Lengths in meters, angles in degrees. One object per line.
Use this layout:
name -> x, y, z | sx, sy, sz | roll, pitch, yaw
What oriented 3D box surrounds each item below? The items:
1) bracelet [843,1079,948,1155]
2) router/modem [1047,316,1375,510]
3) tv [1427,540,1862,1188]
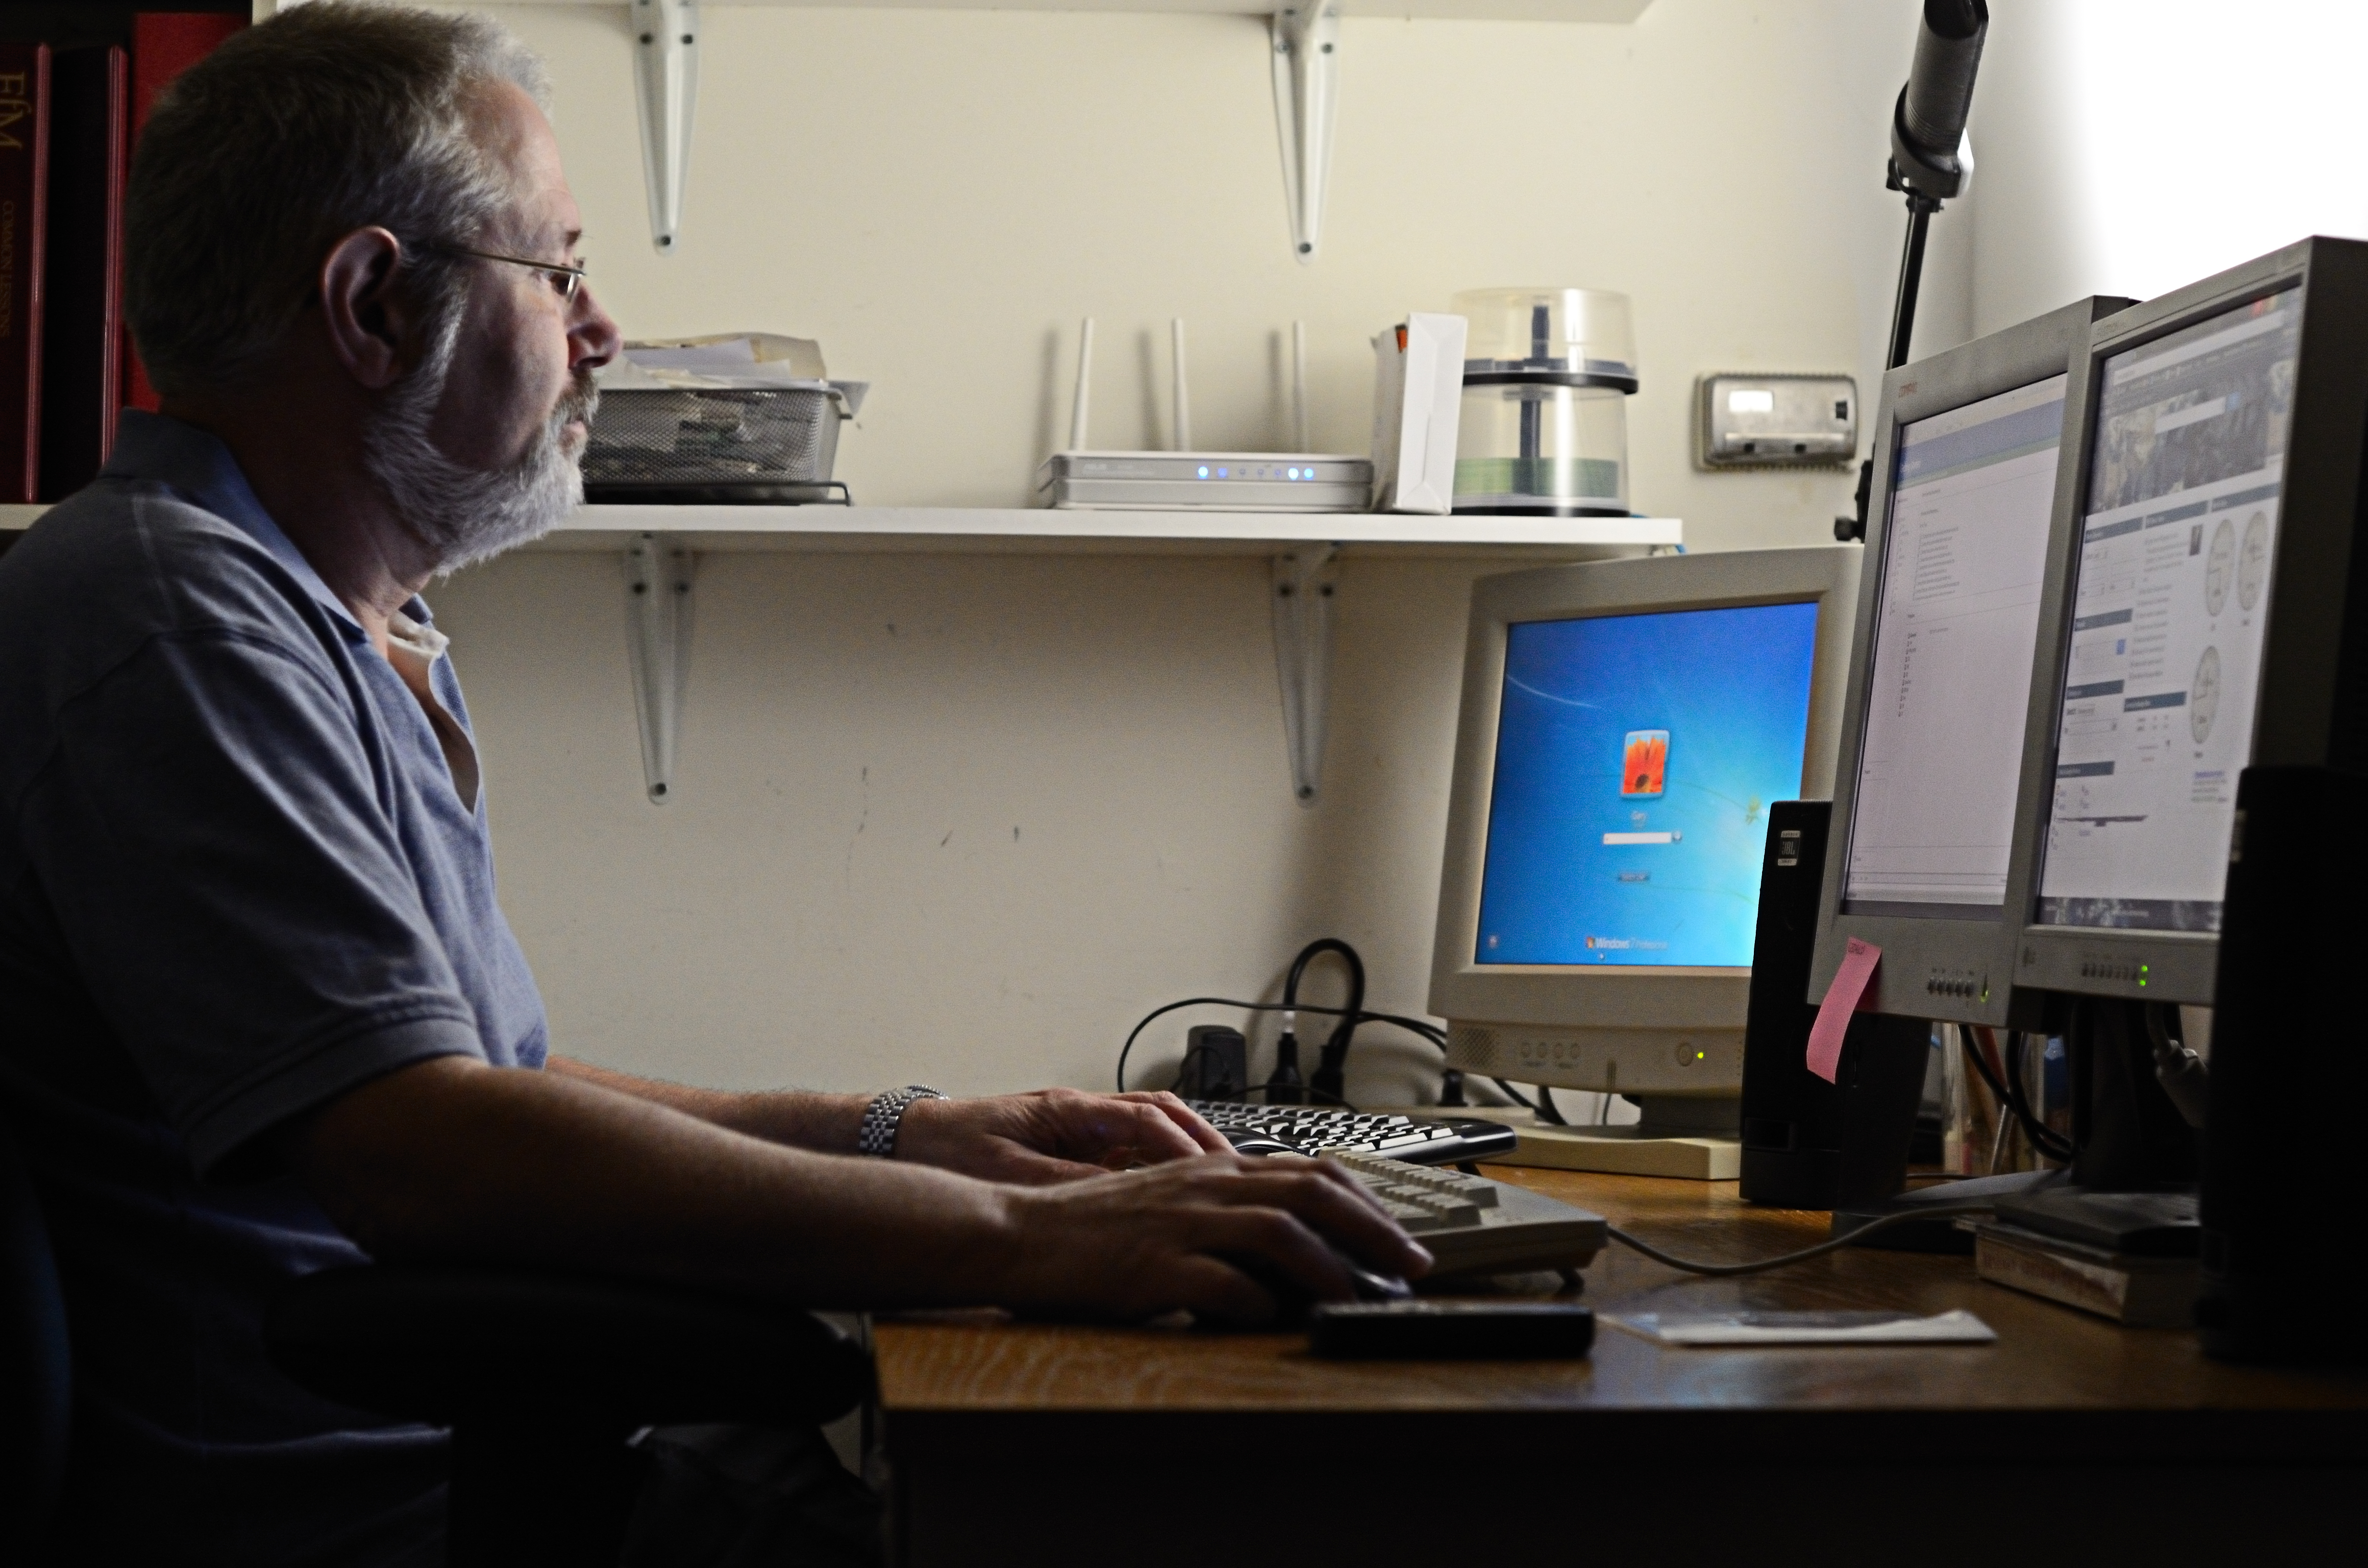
bracelet -> -0.237, 0.266, 1.520 | 0.039, 0.056, 0.064 | -3, 5, 9
router/modem -> 0.014, -0.427, 2.189 | 0.255, 0.153, 0.252 | 0, 2, -3
tv -> 0.475, 0.014, 2.080 | 0.439, 0.603, 0.304 | 0, 25, -5
